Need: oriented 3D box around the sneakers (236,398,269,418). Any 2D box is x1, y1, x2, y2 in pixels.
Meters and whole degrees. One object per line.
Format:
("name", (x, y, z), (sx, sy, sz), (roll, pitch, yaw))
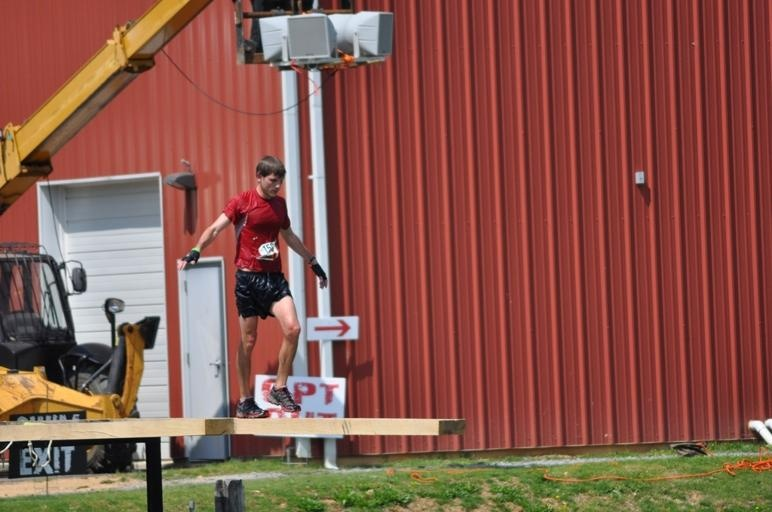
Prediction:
("sneakers", (-2.000, 2.238, 25.656), (0.460, 0.219, 0.217), (-4, -6, 37))
